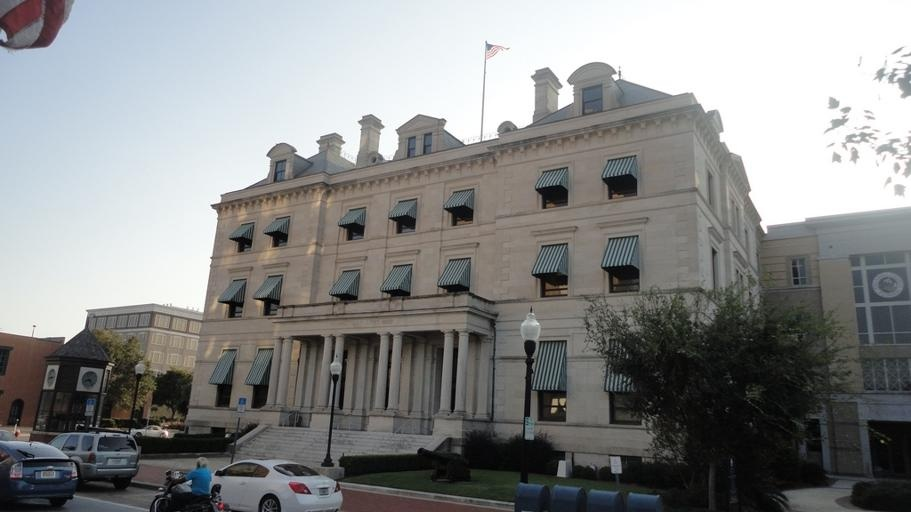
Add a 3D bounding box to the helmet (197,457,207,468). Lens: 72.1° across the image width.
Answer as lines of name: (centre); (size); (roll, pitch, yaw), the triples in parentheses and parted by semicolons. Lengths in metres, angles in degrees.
helmet: (-11.140, 9.048, 27.523); (0.421, 0.482, 0.514); (9, 6, -12)
